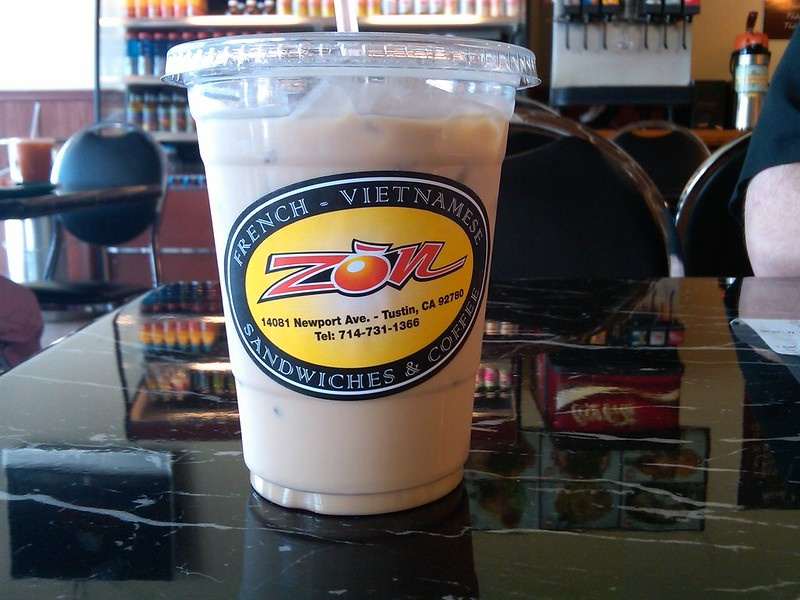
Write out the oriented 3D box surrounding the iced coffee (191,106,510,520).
[{"bbox_3d":[-0.028,0.003,0.518,0.220,0.239,0.211,-1,4,2],"label":"iced coffee"}]
